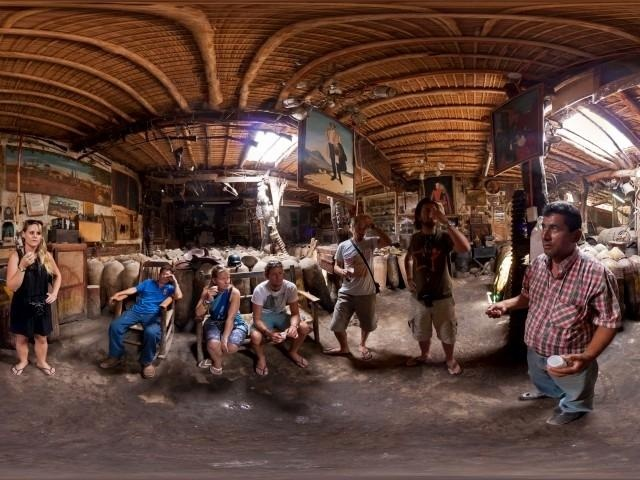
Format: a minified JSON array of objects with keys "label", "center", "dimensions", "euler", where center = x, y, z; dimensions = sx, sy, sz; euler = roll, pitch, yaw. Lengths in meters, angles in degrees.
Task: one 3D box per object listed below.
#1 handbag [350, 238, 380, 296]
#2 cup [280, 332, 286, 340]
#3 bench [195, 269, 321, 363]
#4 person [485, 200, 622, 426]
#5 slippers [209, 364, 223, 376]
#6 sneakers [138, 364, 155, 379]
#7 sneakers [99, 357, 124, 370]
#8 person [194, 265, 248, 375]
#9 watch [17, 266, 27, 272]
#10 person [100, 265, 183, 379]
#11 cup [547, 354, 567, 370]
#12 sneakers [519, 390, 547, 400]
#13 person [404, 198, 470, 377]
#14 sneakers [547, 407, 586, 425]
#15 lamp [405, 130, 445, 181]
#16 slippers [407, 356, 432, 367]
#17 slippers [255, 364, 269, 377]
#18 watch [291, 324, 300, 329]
[{"label":"handbag","center":[0.739,0.445,7.161],"dimensions":[0.342,0.931,0.274],"euler":[-8,6,-10]},{"label":"cup","center":[-0.605,1.470,6.662],"dimensions":[0.126,0.090,0.109],"euler":[-3,-3,15]},{"label":"bench","center":[-1.112,1.243,6.973],"dimensions":[2.049,1.323,1.084],"euler":[0,14,-9]},{"label":"person","center":[2.562,0.808,4.660],"dimensions":[0.875,2.444,1.046],"euler":[-10,6,-26]},{"label":"slippers","center":[-1.604,2.003,6.701],"dimensions":[0.190,0.143,0.146],"euler":[-7,6,-19]},{"label":"sneakers","center":[-2.655,2.023,6.674],"dimensions":[0.153,0.091,0.282],"euler":[4,-5,-34]},{"label":"sneakers","center":[-3.320,1.962,6.907],"dimensions":[0.154,0.113,0.300],"euler":[29,7,13]},{"label":"person","center":[-1.615,1.233,6.884],"dimensions":[0.869,1.632,0.714],"euler":[-8,6,-6]},{"label":"watch","center":[-4.161,0.408,6.064],"dimensions":[0.054,0.052,0.091],"euler":[-6,5,1]},{"label":"person","center":[-2.906,1.288,6.982],"dimensions":[1.333,1.128,0.885],"euler":[-8,6,-23]},{"label":"cup","center":[2.304,1.186,4.245],"dimensions":[0.130,0.096,0.162],"euler":[-27,19,-38]},{"label":"sneakers","center":[2.666,1.955,5.468],"dimensions":[0.372,0.114,0.114],"euler":[2,-1,19]},{"label":"person","center":[1.698,0.690,6.466],"dimensions":[0.702,2.635,0.968],"euler":[-11,7,-30]},{"label":"sneakers","center":[2.769,1.974,4.859],"dimensions":[0.510,0.155,0.152],"euler":[0,-4,1]},{"label":"lamp","center":[3.212,-2.680,13.752],"dimensions":[1.338,1.084,1.287],"euler":[-12,-22,40]},{"label":"slippers","center":[1.523,1.920,6.883],"dimensions":[0.464,0.134,0.132],"euler":[6,13,-5]},{"label":"slippers","center":[-0.907,2.016,6.748],"dimensions":[0.207,0.153,0.234],"euler":[-6,5,-9]},{"label":"watch","center":[-0.387,1.353,6.809],"dimensions":[0.096,0.048,0.088],"euler":[2,-5,-25]}]
